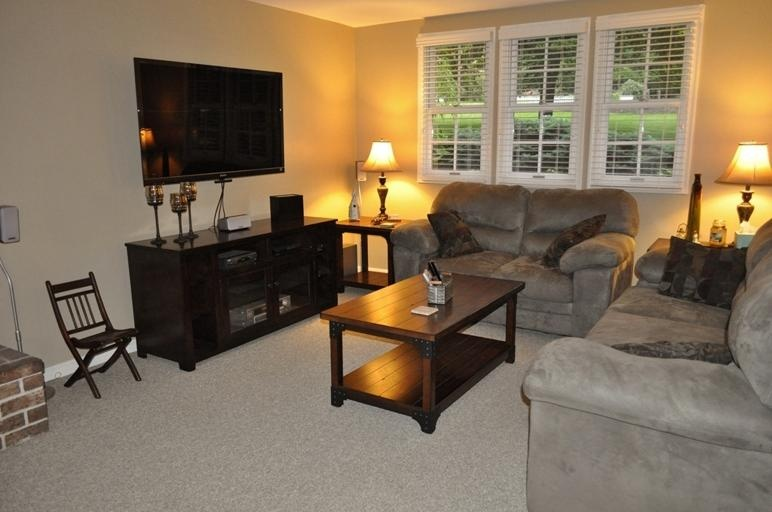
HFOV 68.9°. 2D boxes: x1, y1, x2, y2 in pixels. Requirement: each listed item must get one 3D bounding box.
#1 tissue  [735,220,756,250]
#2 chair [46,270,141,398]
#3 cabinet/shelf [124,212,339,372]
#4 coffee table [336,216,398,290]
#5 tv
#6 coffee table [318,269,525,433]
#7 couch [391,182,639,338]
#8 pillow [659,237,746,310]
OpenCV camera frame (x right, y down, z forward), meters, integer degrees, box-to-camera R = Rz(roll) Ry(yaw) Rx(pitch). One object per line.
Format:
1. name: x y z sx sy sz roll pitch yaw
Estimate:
1. tissue : 2.917 -0.167 4.574 0.165 0.191 0.305 6 13 37
2. chair: -2.210 0.609 4.328 0.670 0.752 0.515 8 13 5
3. cabinet/shelf: -1.319 0.234 5.312 0.647 0.987 1.972 9 15 30
4. coffee table: -0.097 0.002 6.300 0.847 0.727 0.642 5 13 34
5. tv: -1.621 -1.217 4.992 0.060 0.895 1.499 11 14 38
6. coffee table: 0.346 0.649 4.360 0.943 0.650 1.519 7 14 32
7. couch: 1.258 -0.047 5.563 2.145 1.123 1.148 7 23 30
8. pillow: 2.411 0.143 4.321 0.566 0.491 0.168 12 -1 39
